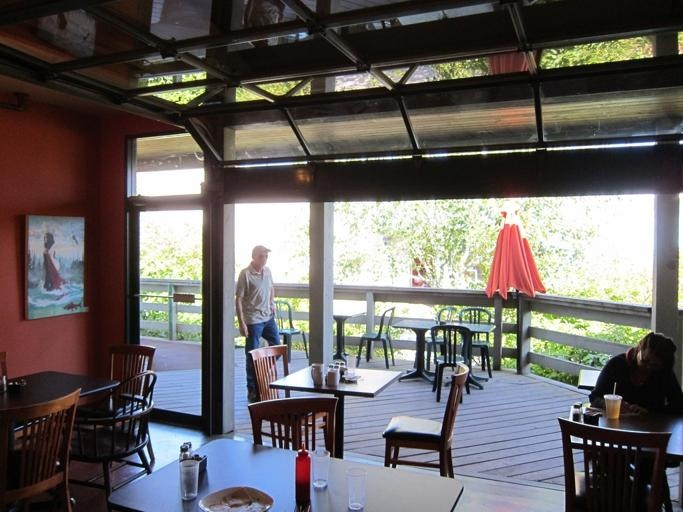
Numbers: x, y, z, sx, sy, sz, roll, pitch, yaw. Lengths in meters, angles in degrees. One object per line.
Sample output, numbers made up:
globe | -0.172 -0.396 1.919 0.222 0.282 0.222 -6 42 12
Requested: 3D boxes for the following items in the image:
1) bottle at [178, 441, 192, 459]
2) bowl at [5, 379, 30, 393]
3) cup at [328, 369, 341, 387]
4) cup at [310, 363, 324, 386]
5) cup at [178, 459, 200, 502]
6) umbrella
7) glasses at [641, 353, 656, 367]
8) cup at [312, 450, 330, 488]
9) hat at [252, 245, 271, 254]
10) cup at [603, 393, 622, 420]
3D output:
bottle | -0.892 1.114 3.219 0.059 0.105 0.225 2 -2 -12
bowl | -2.583 1.041 4.508 0.097 0.069 0.133 0 -4 23
cup | -0.084 1.036 4.764 0.088 0.121 0.140 -1 0 -41
cup | -0.202 1.018 4.816 0.102 0.169 0.180 2 -2 -2
cup | -0.850 1.259 3.160 0.126 0.188 0.123 -2 -8 0
umbrella | 2.450 -0.032 7.879 0.756 1.246 0.416 2 -2 14
glasses | 2.309 0.788 4.209 0.089 0.063 0.087 4 12 35
cup | -0.122 1.231 3.268 0.102 0.188 0.183 2 -2 -1
hat | -0.977 -0.069 6.878 0.153 0.078 0.108 -2 1 -8
cup | 1.967 1.090 4.067 0.096 0.163 0.145 1 -2 31
